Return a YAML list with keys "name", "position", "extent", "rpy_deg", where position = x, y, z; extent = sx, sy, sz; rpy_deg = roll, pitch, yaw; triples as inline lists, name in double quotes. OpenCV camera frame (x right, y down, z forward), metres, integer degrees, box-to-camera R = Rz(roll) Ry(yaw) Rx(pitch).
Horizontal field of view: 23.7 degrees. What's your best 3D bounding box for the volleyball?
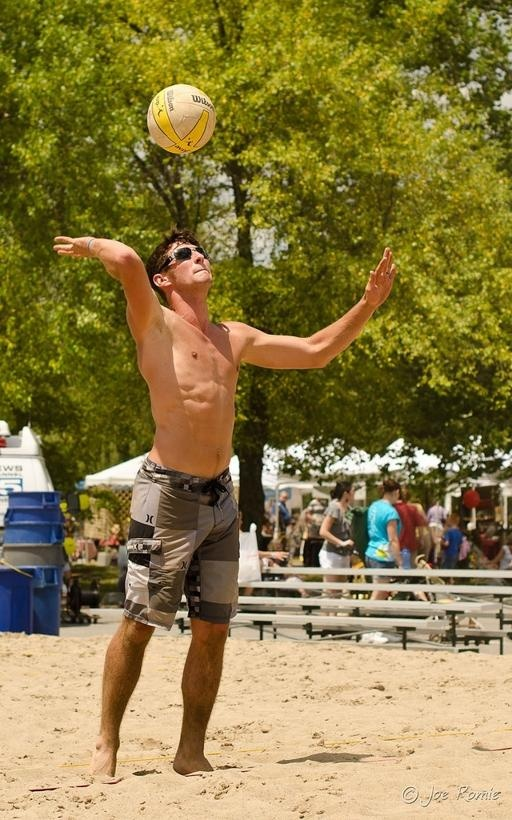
- name: "volleyball"
  position: [-0.358, -1.498, 6.363]
  extent: [0.391, 0.390, 0.357]
  rpy_deg: [4, 6, 8]
